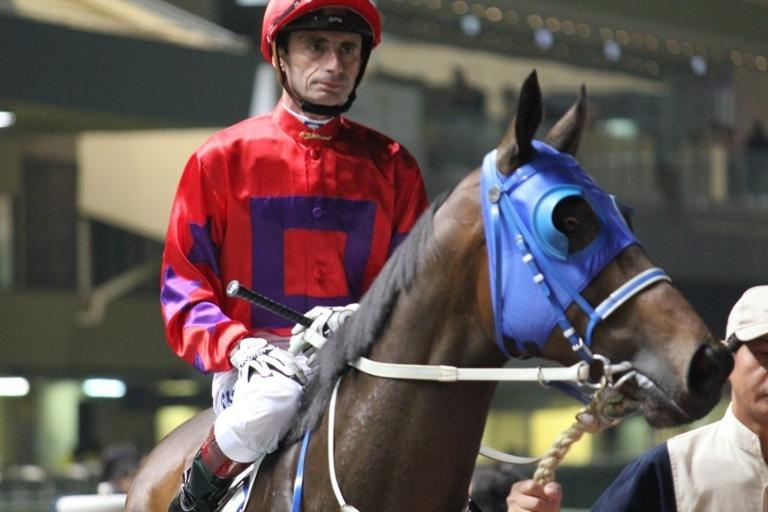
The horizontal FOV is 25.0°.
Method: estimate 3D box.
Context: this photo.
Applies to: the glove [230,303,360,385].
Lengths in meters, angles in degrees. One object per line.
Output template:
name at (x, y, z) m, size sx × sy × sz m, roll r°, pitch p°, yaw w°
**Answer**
glove at (-0.542, 0.511, 10.265) m, size 0.982 × 0.380 × 0.332 m, roll -16°, pitch 2°, yaw -3°
